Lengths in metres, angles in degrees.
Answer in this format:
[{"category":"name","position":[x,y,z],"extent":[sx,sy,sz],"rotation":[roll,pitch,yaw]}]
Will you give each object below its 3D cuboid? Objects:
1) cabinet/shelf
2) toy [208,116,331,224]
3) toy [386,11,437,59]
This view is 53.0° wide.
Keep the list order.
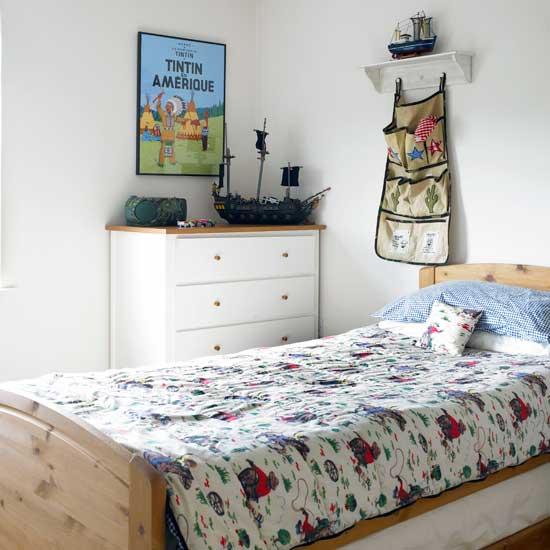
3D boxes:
[{"category":"cabinet/shelf","position":[-0.356,0.195,3.605],"extent":[1.215,1.028,0.651],"rotation":[-4,8,-40]},{"category":"toy","position":[-0.004,-0.618,3.632],"extent":[0.807,0.576,0.260],"rotation":[2,8,6]},{"category":"toy","position":[0.725,-1.277,2.955],"extent":[0.099,0.193,0.297],"rotation":[-22,25,-37]}]
